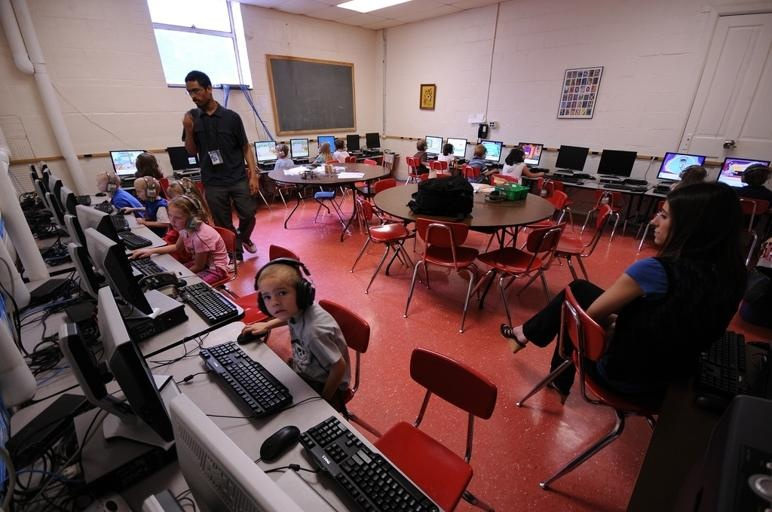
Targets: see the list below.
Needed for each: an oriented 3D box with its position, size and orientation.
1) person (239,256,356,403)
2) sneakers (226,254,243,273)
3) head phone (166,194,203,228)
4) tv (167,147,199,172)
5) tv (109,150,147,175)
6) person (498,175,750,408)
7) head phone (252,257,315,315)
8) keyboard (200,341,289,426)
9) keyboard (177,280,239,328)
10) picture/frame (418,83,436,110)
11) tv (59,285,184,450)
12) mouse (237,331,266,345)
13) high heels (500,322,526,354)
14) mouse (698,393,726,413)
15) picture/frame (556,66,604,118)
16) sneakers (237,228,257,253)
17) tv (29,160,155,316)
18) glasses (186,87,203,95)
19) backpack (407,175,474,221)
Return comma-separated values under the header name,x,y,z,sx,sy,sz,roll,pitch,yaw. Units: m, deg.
name,x,y,z,sx,sy,sz,roll,pitch,yaw
person,-0.684,0.601,3.622,0.737,1.266,0.773,-15,28,-29
sneakers,-1.557,0.071,4.929,0.162,0.180,0.431,-3,12,-12
head phone,-1.821,-0.412,4.279,0.338,0.300,0.137,9,22,31
tv,-3.102,-1.465,7.090,0.348,0.294,0.441,20,32,26
tv,-3.620,-1.301,6.530,0.344,0.321,0.484,33,33,33
person,2.043,0.279,3.359,0.914,1.543,0.570,-10,22,-21
head phone,-0.739,0.227,3.361,0.408,0.391,0.152,-13,11,-2
keyboard,-0.965,0.857,3.247,0.376,0.140,0.825,-24,48,-37
keyboard,-1.459,0.366,3.787,0.586,0.064,0.240,25,37,34
picture/frame,0.816,-3.121,9.105,0.455,0.534,0.043,21,31,41
tv,-1.778,0.792,3.164,0.443,0.734,0.793,-17,32,-34
mouse,-0.996,0.597,3.493,0.171,0.054,0.088,-9,16,-23
high heels,1.188,0.728,4.399,0.117,0.137,0.338,-20,45,4
mouse,2.185,0.977,3.130,0.138,0.049,0.099,-2,6,-28
picture/frame,2.966,-2.499,7.076,0.683,0.823,0.059,21,26,35
sneakers,-1.812,-0.185,6.008,0.148,0.143,0.369,-31,57,-33
tv,-2.668,-0.159,4.245,1.564,1.061,0.441,24,40,39
glasses,-1.990,-1.718,4.903,0.145,0.083,0.102,-3,20,-5
backpack,0.583,-0.588,4.917,0.485,0.253,0.649,0,19,4
